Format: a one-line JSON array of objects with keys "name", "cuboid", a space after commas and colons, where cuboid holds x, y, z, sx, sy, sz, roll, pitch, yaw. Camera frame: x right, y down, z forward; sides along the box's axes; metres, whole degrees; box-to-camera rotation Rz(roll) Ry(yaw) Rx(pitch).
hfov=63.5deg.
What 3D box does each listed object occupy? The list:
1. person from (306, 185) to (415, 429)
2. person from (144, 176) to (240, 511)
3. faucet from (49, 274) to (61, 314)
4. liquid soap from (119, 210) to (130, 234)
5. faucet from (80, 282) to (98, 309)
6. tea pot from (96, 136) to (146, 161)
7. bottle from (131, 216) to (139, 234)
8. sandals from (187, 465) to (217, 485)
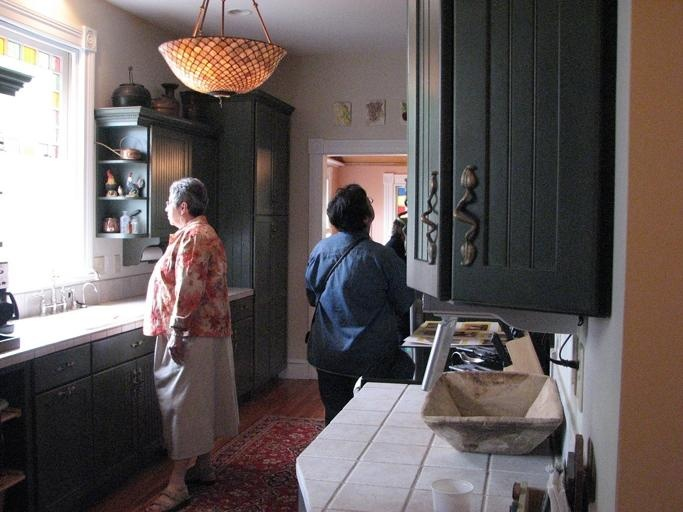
[{"name": "person", "cuboid": [0.089, 0.345, 2.703, 0.537, 0.911, 0.321, -2, 7, -3]}, {"name": "person", "cuboid": [-0.833, 0.463, 2.987, 0.483, 1.741, 0.445, -3, 7, -13]}, {"name": "faucet", "cuboid": [-1.817, 0.230, 3.498, 0.046, 0.261, 0.175, -4, 8, -20]}, {"name": "liquid soap", "cuboid": [-1.537, -0.231, 3.919, 0.080, 0.158, 0.126, -4, 8, -22]}, {"name": "faucet", "cuboid": [-1.732, 0.264, 3.767, 0.083, 0.164, 0.246, -3, 8, -10]}, {"name": "tea pot", "cuboid": [-1.529, -0.717, 3.888, 0.377, 0.223, 0.153, -2, -3, 21]}, {"name": "bottle", "cuboid": [-1.462, -0.223, 3.914, 0.058, 0.112, 0.045, -4, 8, -19]}, {"name": "sandals", "cuboid": [-0.802, 1.270, 3.226, 0.190, 0.085, 0.077, 4, 1, 8]}]
